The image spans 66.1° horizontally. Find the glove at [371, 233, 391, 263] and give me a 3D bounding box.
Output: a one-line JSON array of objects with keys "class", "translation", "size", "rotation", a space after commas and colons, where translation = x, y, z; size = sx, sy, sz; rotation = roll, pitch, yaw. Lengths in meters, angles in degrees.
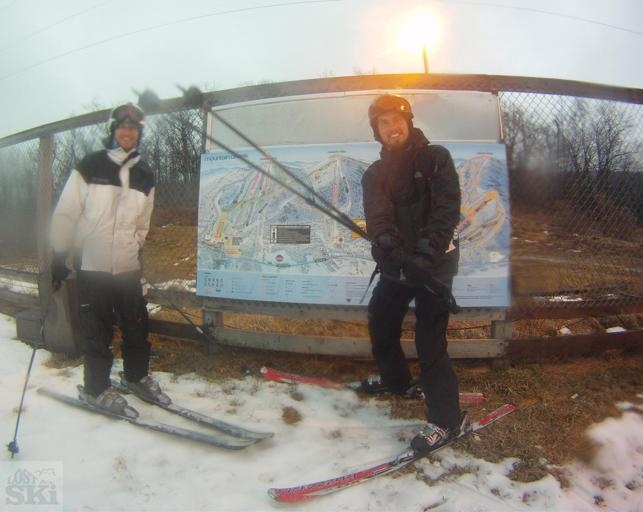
[{"class": "glove", "translation": [0.538, -0.051, 4.427], "size": [0.084, 0.228, 0.173], "rotation": [-4, 7, -39]}]

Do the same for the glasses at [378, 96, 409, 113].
[{"class": "glasses", "translation": [0.650, -1.361, 4.464], "size": [0.159, 0.079, 0.221], "rotation": [-5, 13, -12]}]

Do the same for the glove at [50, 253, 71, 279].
[{"class": "glove", "translation": [-2.456, 0.103, 4.655], "size": [0.141, 0.251, 0.157], "rotation": [0, 3, -27]}]
